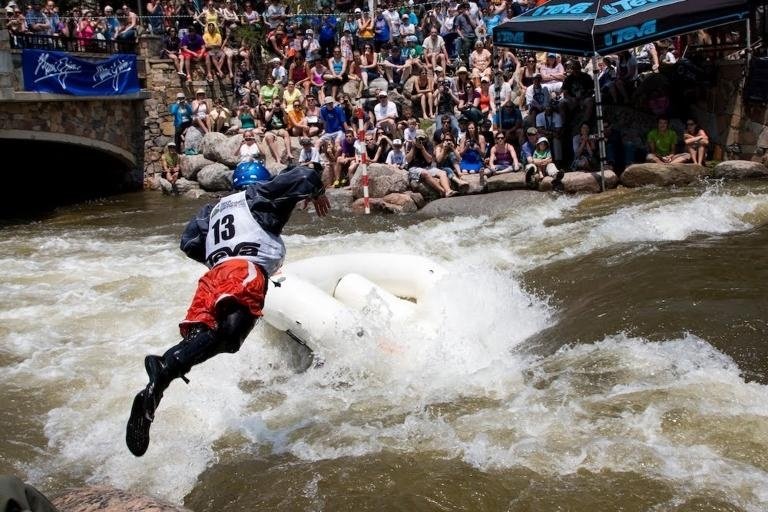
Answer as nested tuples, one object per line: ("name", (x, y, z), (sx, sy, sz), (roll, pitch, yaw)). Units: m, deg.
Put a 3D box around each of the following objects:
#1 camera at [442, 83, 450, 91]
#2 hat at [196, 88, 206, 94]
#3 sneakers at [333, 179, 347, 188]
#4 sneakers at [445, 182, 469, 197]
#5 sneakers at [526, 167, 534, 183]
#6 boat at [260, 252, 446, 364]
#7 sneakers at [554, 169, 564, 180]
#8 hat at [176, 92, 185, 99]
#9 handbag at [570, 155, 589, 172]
("camera", (1.411, -3.838, 17.427), (0.179, 0.202, 0.202), (-3, 13, -2))
("hat", (-4.981, -4.479, 20.906), (0.265, 0.196, 0.401), (2, 8, -16))
("sneakers", (-0.959, -1.612, 16.990), (0.358, 0.167, 0.133), (-6, 2, -13))
("sneakers", (1.528, -1.346, 15.326), (0.390, 0.262, 0.208), (-1, 13, 6))
("sneakers", (2.870, -1.575, 15.009), (0.091, 0.278, 0.179), (9, 4, -11))
("boat", (-0.324, 0.612, 9.877), (1.900, 0.647, 2.342), (-3, 18, -27))
("sneakers", (3.466, -1.554, 15.133), (0.111, 0.298, 0.204), (15, 3, -1))
("hat", (-5.591, -4.392, 21.089), (0.264, 0.140, 0.381), (-6, 14, -12))
("handbag", (4.035, -1.868, 15.666), (0.286, 0.295, 0.110), (16, -10, 47))
